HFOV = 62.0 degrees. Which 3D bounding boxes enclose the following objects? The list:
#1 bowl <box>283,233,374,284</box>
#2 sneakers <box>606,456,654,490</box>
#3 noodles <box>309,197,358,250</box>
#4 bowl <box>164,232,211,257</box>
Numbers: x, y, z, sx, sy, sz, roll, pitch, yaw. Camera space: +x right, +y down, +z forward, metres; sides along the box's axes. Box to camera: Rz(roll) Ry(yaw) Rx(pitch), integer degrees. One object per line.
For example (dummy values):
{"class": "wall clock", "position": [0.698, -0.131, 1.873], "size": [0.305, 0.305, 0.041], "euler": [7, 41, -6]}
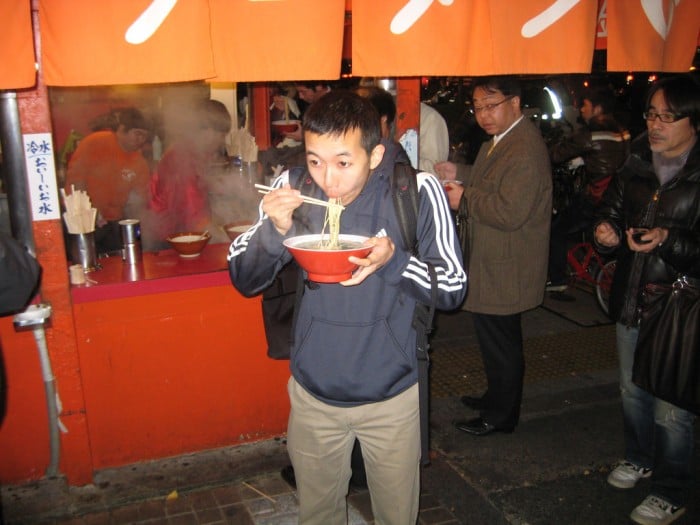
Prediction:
{"class": "bowl", "position": [-0.087, -0.101, 2.999], "size": [0.558, 0.271, 0.364], "euler": [3, 12, 15]}
{"class": "sneakers", "position": [2.080, 1.550, 4.305], "size": [0.385, 0.165, 0.142], "euler": [1, 1, -21]}
{"class": "noodles", "position": [-0.095, -0.200, 2.985], "size": [0.192, 0.260, 0.204], "euler": [16, 22, 40]}
{"class": "bowl", "position": [-1.236, -0.150, 4.548], "size": [0.230, 0.108, 0.240], "euler": [-3, 5, 0]}
